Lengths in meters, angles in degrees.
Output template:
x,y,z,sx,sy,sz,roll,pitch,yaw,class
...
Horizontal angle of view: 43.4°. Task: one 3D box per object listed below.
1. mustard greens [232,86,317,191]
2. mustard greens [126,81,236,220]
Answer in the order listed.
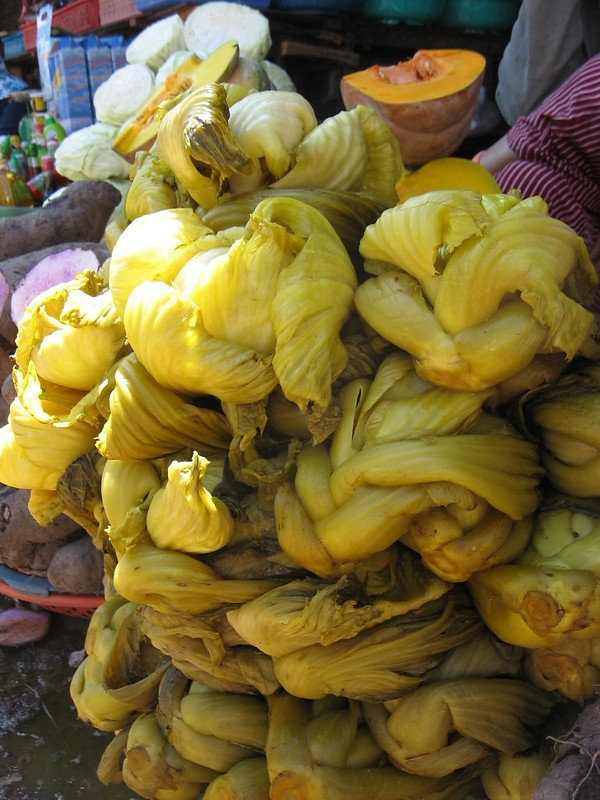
x,y,z,sx,sy,sz,roll,pitch,yaw,class
-0.039,-0.409,1.200,0.159,0.082,0.144,-2,73,10,mustard greens
-0.183,-0.393,1.211,0.139,0.170,0.245,27,25,6,mustard greens
